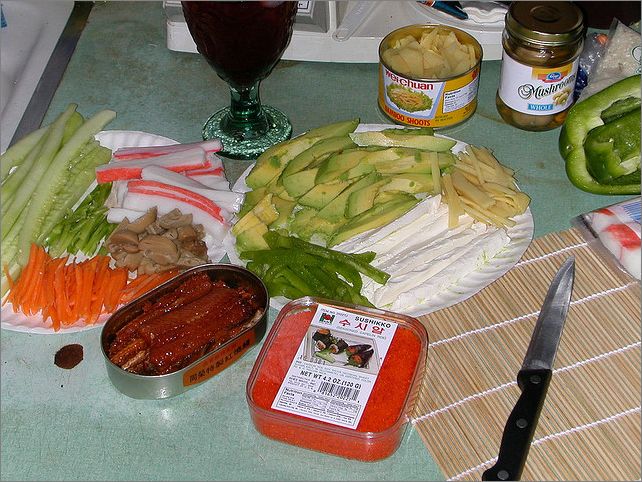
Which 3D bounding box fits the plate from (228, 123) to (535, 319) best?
[{"bbox_3d":[0.142,-0.083,1.305,0.755,0.135,0.580,1,53,-1],"label":"plate"}]
